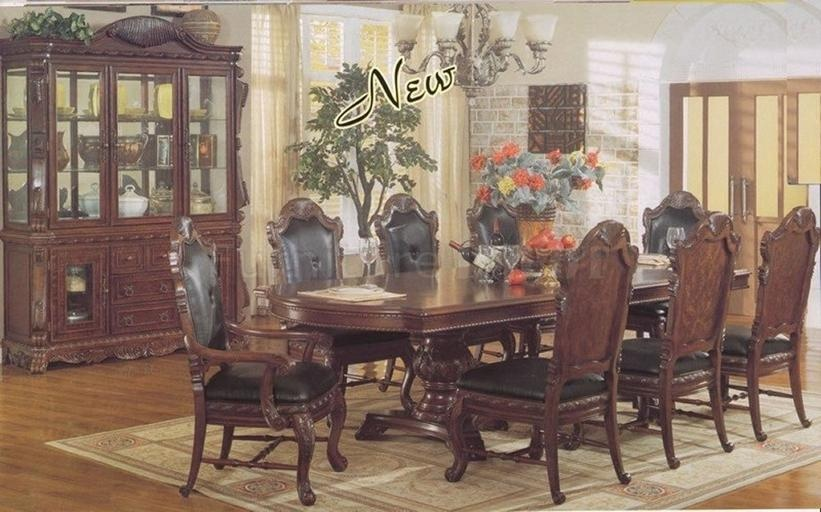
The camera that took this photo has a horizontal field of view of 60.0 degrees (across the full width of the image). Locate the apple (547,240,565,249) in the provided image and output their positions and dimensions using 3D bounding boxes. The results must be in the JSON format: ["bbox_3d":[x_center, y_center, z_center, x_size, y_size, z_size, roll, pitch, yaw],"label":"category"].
[{"bbox_3d":[0.921,-0.067,4.469,0.074,0.065,0.067,6,17,28],"label":"apple"}]

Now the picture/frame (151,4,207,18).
[{"bbox_3d":[-2.185,-2.326,6.763,0.511,0.125,0.267,-2,9,-14],"label":"picture/frame"}]

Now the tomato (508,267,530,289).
[{"bbox_3d":[0.668,0.143,4.467,0.127,0.084,0.096,-11,-16,27],"label":"tomato"}]

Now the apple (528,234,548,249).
[{"bbox_3d":[0.815,-0.090,4.525,0.063,0.092,0.056,43,-10,28],"label":"apple"}]

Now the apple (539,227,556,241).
[{"bbox_3d":[0.865,-0.142,4.600,0.099,0.094,0.104,3,-3,-43],"label":"apple"}]

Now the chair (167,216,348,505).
[{"bbox_3d":[-0.846,0.529,3.812,0.882,1.438,0.521,2,11,12],"label":"chair"}]

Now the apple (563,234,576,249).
[{"bbox_3d":[1.001,-0.091,4.555,0.094,0.083,0.091,1,8,-39],"label":"apple"}]

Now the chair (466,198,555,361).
[{"bbox_3d":[0.685,0.237,5.550,0.844,1.149,0.787,5,11,-2],"label":"chair"}]

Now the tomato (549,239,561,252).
[{"bbox_3d":[0.916,-0.060,4.462,0.072,0.063,0.070,-5,5,-37],"label":"tomato"}]

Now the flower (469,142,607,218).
[{"bbox_3d":[0.860,-0.491,4.678,0.523,0.218,0.485,21,41,23],"label":"flower"}]

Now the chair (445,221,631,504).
[{"bbox_3d":[0.755,0.526,3.818,0.965,1.434,0.550,-6,12,-28],"label":"chair"}]

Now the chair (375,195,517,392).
[{"bbox_3d":[0.186,0.247,5.218,0.867,1.305,0.917,-3,8,-34],"label":"chair"}]

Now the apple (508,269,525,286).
[{"bbox_3d":[0.667,0.129,4.420,0.108,0.076,0.083,-18,23,-39],"label":"apple"}]
